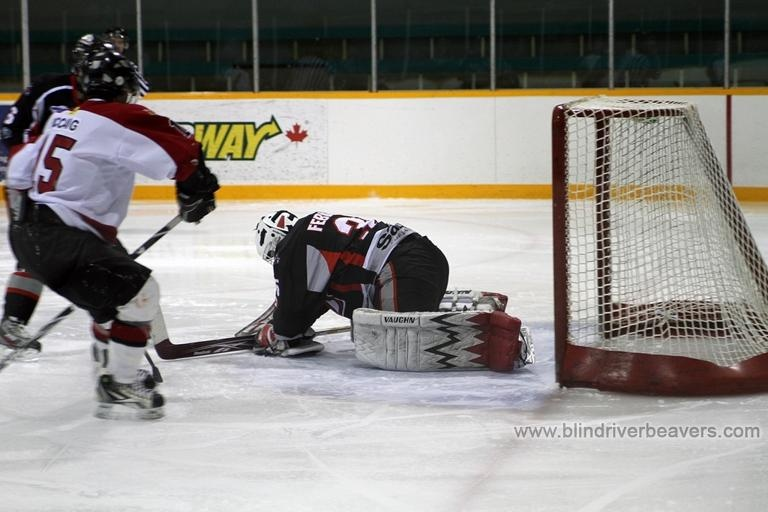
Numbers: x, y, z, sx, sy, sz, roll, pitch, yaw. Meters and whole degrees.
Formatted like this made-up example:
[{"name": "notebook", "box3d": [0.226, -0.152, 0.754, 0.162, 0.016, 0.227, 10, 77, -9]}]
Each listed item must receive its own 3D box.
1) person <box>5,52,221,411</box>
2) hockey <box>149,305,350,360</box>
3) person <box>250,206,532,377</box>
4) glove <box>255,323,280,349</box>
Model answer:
[{"name": "person", "box3d": [-1.232, -0.006, 3.767, 0.895, 1.313, 0.428, 4, 8, 9]}, {"name": "hockey", "box3d": [-0.604, 0.349, 4.679, 1.381, 0.318, 0.146, -1, -21, -40]}, {"name": "person", "box3d": [0.066, 0.181, 4.333, 1.393, 0.431, 0.877, 1, -2, 10]}, {"name": "glove", "box3d": [-0.590, 0.400, 4.395, 0.071, 0.124, 0.118, 9, 7, -26]}]
